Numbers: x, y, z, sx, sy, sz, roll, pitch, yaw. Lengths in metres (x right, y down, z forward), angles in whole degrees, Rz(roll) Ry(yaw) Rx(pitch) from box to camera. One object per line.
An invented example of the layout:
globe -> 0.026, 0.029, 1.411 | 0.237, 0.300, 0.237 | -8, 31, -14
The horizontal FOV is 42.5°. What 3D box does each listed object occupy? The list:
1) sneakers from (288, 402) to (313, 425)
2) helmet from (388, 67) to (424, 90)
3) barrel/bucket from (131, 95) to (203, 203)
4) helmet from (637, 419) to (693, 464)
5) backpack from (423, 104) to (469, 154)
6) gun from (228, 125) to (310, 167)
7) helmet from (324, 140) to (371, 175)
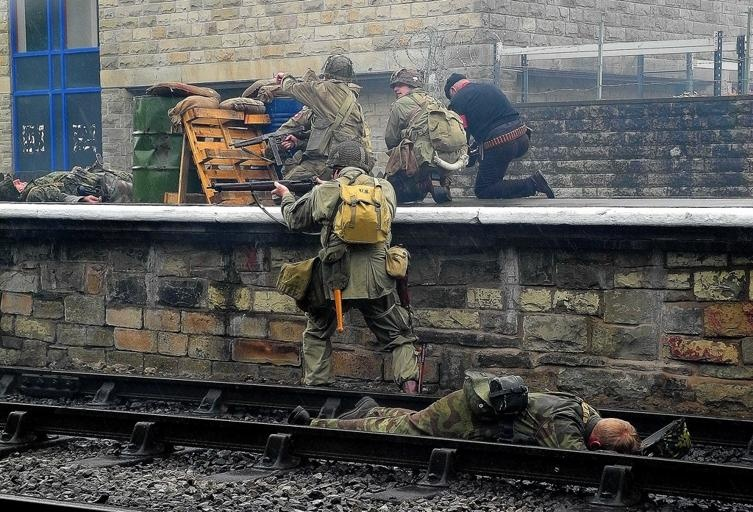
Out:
sneakers -> -0.755, 1.573, 9.649 | 0.195, 0.153, 0.213 | -26, -1, -7
helmet -> 0.476, -2.677, 14.636 | 0.427, 0.300, 0.317 | -5, 11, -13
barrel/bucket -> -3.353, -1.638, 14.768 | 0.852, 1.625, 0.368 | -1, 2, 0
helmet -> 2.603, 1.659, 8.775 | 0.402, 0.354, 0.606 | 0, 3, 30
backpack -> 1.005, -1.832, 14.078 | 0.435, 0.726, 0.791 | -12, -6, 27
gun -> -1.589, -1.554, 14.077 | 1.290, 0.507, 0.094 | -19, 35, -34
helmet -> -0.310, -1.067, 10.525 | 0.364, 0.324, 0.430 | -2, 12, -30
